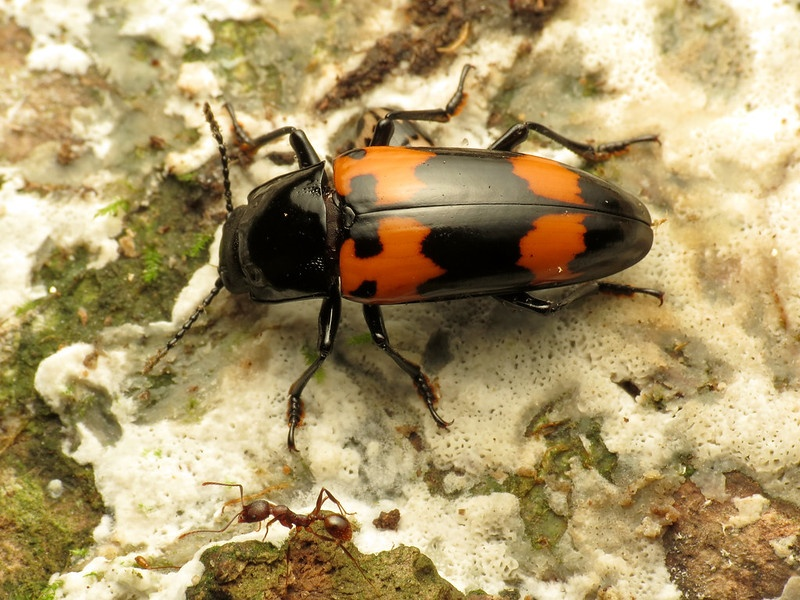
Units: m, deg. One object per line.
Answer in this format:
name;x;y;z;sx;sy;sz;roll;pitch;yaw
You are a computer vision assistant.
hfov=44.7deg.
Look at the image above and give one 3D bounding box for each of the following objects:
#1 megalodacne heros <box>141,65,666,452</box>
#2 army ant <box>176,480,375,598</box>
megalodacne heros;0.216;-0.509;6.780;2.941;1.105;0.549;2;-7;3
army ant;-0.794;1.698;6.726;1.018;0.715;0.859;-7;27;-6
